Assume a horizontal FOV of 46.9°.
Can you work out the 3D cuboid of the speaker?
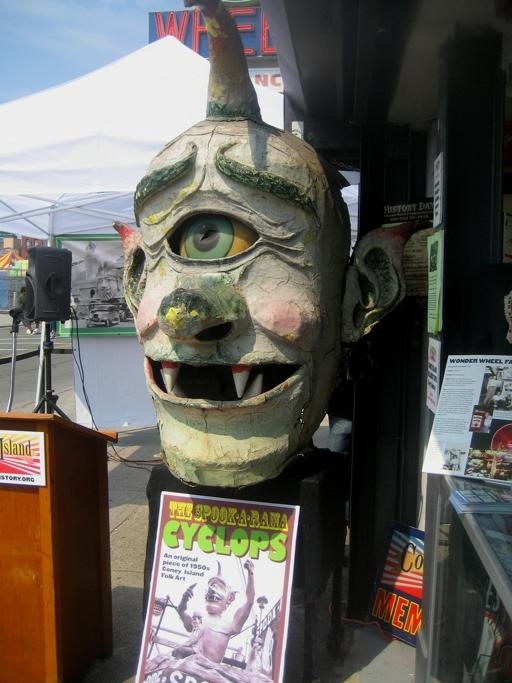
[{"bbox_3d":[-1.737,-0.478,4.949,0.357,0.630,0.278,0,5,-21],"label":"speaker"}]
